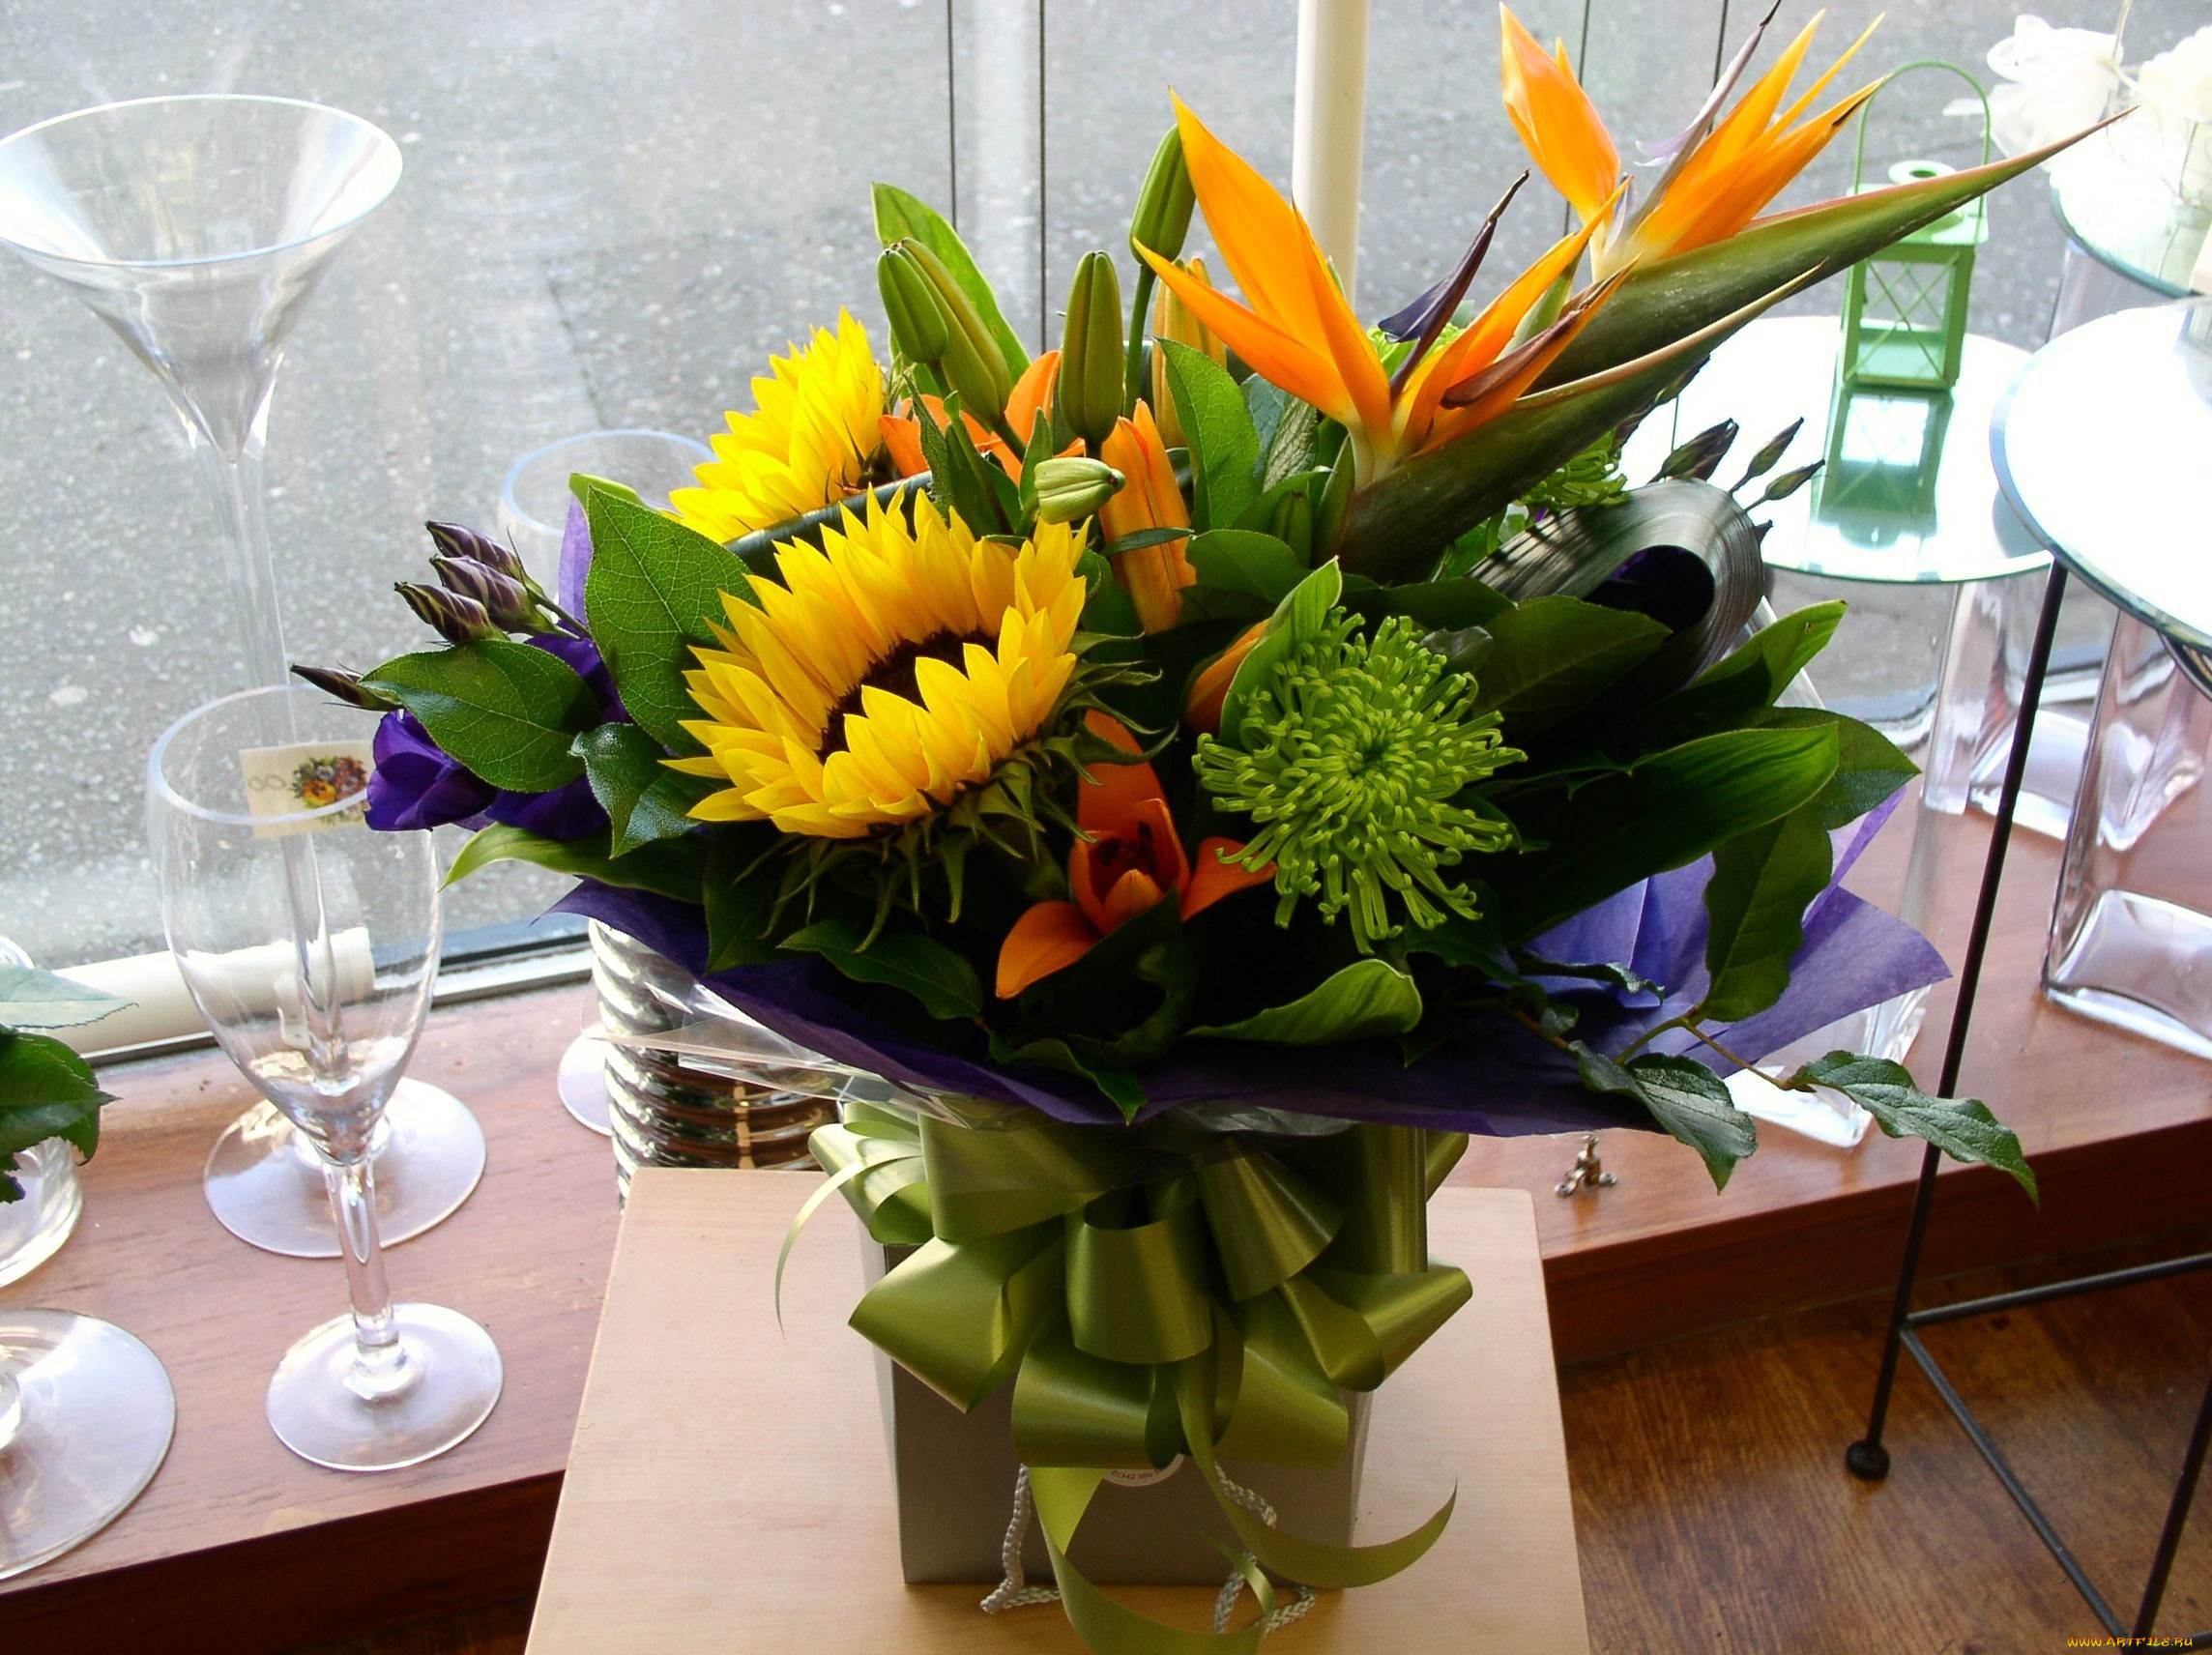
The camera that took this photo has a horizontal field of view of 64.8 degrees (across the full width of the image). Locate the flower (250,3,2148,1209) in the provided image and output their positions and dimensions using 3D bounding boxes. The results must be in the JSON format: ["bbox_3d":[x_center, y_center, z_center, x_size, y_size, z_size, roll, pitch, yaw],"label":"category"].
[{"bbox_3d":[0.028,-0.029,0.484,0.422,0.337,0.240,0,36,7],"label":"flower"}]
